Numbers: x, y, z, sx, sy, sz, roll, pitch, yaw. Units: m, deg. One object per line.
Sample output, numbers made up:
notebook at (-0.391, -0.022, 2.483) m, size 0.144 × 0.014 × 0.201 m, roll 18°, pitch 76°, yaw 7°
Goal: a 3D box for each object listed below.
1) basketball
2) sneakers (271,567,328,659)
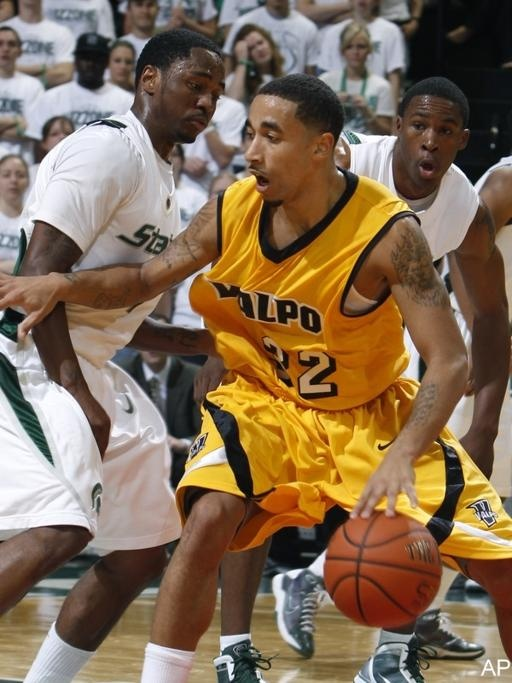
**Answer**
basketball at (0.271, 0.489, 1.676) m, size 0.269 × 0.240 × 0.254 m, roll -9°, pitch -13°, yaw 29°
sneakers at (0.167, 0.957, 2.753) m, size 0.178 × 0.117 × 0.363 m, roll -32°, pitch 44°, yaw 13°
